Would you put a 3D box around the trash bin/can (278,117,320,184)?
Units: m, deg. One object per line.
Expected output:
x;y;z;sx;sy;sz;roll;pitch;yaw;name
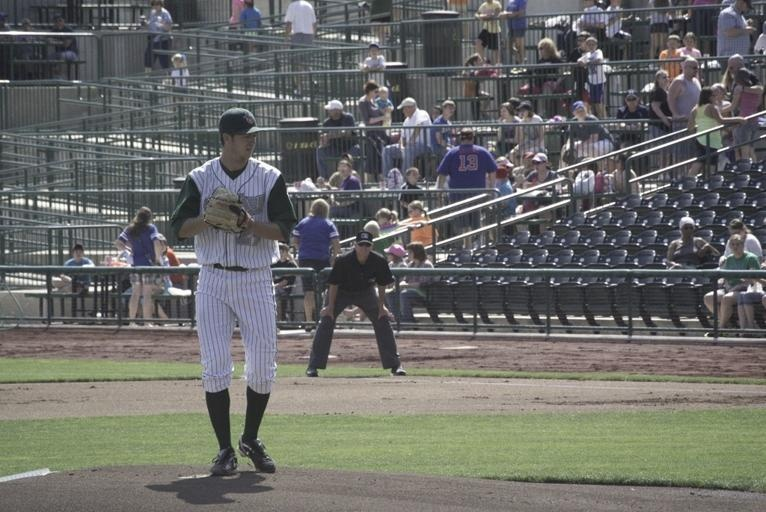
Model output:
-1.911;-2.350;45.446;0.785;1.439;0.819;-3;-21;2;trash bin/can
